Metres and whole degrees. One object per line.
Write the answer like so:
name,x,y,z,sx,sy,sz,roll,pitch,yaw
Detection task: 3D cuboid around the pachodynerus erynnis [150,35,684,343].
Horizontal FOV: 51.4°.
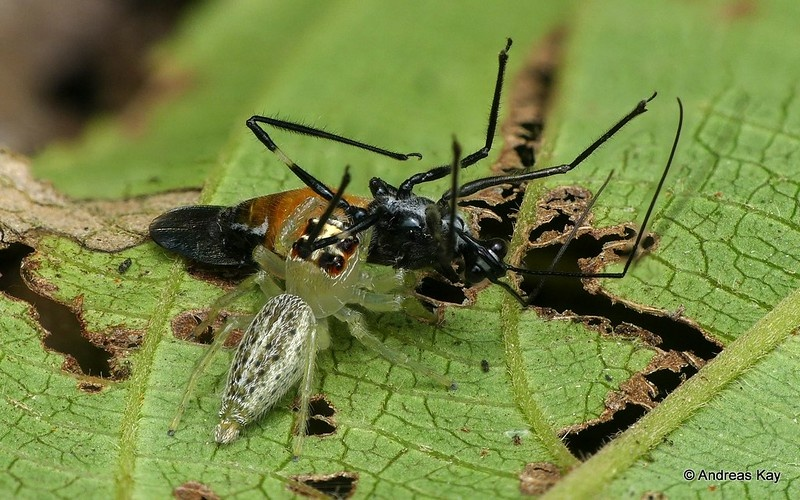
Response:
pachodynerus erynnis,0.084,-0.313,6.567,4.067,2.816,1.400,4,74,1

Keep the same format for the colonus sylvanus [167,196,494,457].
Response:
colonus sylvanus,-0.612,0.255,5.908,1.510,1.481,1.992,13,36,-5
